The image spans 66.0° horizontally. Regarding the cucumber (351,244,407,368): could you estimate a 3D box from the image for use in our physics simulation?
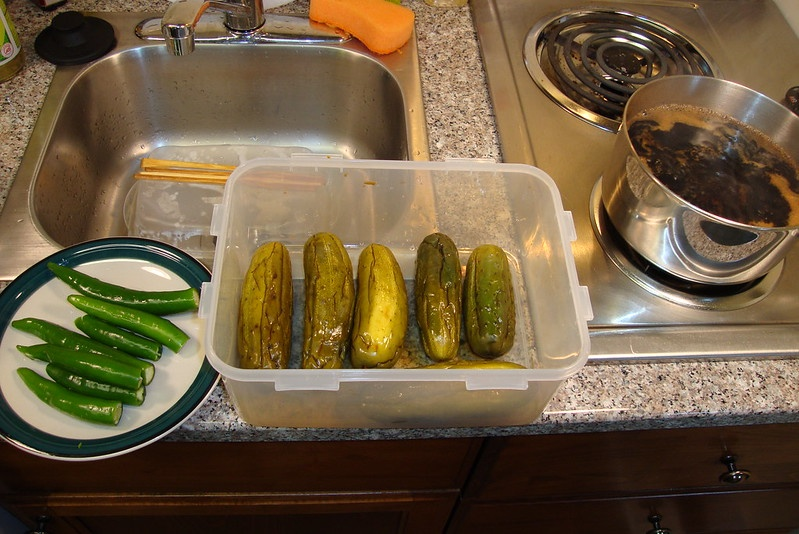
[{"bbox_3d":[-0.030,0.061,0.966,0.086,0.069,0.174,5,66,-5],"label":"cucumber"}]

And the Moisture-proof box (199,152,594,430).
[{"bbox_3d":[-0.019,0.012,0.995,0.569,0.194,0.413,3,61,-10],"label":"Moisture-proof box"}]

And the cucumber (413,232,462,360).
[{"bbox_3d":[0.067,0.046,1.041,0.081,0.068,0.186,2,74,-4],"label":"cucumber"}]

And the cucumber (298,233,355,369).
[{"bbox_3d":[-0.114,0.052,0.973,0.077,0.068,0.208,-1,68,-1],"label":"cucumber"}]

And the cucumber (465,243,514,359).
[{"bbox_3d":[0.144,0.058,1.039,0.080,0.075,0.175,16,69,-40],"label":"cucumber"}]

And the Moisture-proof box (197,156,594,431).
[{"bbox_3d":[0.009,0.000,1.041,0.555,0.195,0.417,2,74,-2],"label":"Moisture-proof box"}]

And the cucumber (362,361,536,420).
[{"bbox_3d":[0.082,0.161,0.961,0.297,0.100,0.098,-3,43,1],"label":"cucumber"}]
